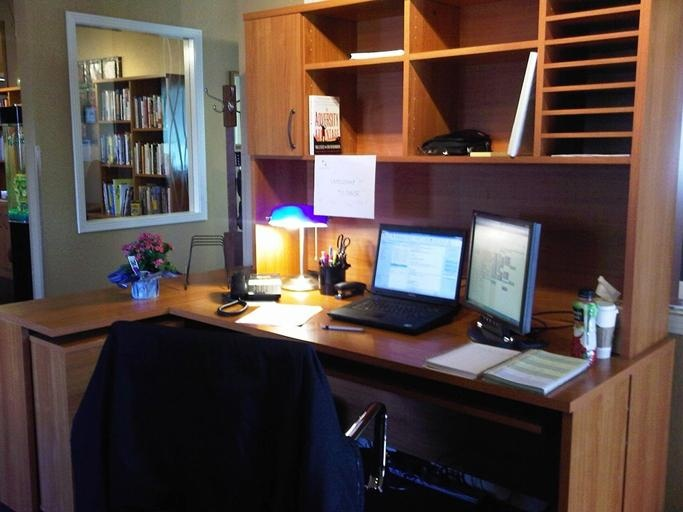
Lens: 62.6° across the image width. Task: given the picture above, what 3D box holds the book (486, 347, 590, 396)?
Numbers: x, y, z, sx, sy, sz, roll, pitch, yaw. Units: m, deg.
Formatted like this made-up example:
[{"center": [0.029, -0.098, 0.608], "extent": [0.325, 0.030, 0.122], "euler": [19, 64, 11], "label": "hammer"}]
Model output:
[{"center": [0.620, 0.360, 1.779], "extent": [0.177, 0.026, 0.150], "euler": [-15, 23, -40], "label": "book"}]

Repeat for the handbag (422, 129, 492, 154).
[{"center": [0.488, -0.468, 2.327], "extent": [0.185, 0.070, 0.144], "euler": [-1, 10, -7], "label": "handbag"}]

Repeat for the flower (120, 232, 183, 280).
[{"center": [-0.874, -0.019, 2.629], "extent": [0.186, 0.123, 0.190], "euler": [-15, 16, 38], "label": "flower"}]

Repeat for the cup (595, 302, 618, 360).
[{"center": [0.893, 0.253, 1.909], "extent": [0.060, 0.194, 0.044], "euler": [5, 12, 26], "label": "cup"}]

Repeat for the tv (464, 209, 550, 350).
[{"center": [0.626, 0.097, 2.119], "extent": [0.207, 0.481, 0.446], "euler": [-1, 8, -19], "label": "tv"}]

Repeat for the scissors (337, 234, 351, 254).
[{"center": [0.012, -0.065, 2.933], "extent": [0.021, 0.159, 0.095], "euler": [1, 2, 22], "label": "scissors"}]

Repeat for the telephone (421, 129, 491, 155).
[{"center": [0.483, -0.466, 2.325], "extent": [0.188, 0.072, 0.146], "euler": [-2, 10, -8], "label": "telephone"}]

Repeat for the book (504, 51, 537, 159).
[{"center": [0.656, -0.546, 2.033], "extent": [0.056, 0.393, 0.067], "euler": [10, 1, -31], "label": "book"}]

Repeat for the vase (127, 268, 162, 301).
[{"center": [-0.909, 0.138, 2.611], "extent": [0.130, 0.165, 0.138], "euler": [-1, 7, -10], "label": "vase"}]

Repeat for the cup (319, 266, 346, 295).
[{"center": [-0.051, 0.108, 2.716], "extent": [0.125, 0.139, 0.119], "euler": [2, 6, 0], "label": "cup"}]

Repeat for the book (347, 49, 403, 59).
[{"center": [0.156, -0.907, 2.520], "extent": [0.152, 0.032, 0.152], "euler": [4, 19, 19], "label": "book"}]

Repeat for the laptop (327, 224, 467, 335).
[{"center": [0.236, 0.077, 2.388], "extent": [0.487, 0.365, 0.564], "euler": [-9, 11, -32], "label": "laptop"}]

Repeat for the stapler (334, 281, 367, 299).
[{"center": [0.037, 0.161, 2.663], "extent": [0.186, 0.093, 0.055], "euler": [-2, 6, -40], "label": "stapler"}]
